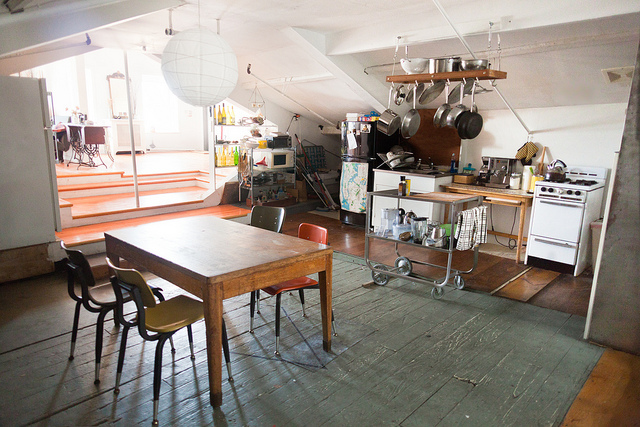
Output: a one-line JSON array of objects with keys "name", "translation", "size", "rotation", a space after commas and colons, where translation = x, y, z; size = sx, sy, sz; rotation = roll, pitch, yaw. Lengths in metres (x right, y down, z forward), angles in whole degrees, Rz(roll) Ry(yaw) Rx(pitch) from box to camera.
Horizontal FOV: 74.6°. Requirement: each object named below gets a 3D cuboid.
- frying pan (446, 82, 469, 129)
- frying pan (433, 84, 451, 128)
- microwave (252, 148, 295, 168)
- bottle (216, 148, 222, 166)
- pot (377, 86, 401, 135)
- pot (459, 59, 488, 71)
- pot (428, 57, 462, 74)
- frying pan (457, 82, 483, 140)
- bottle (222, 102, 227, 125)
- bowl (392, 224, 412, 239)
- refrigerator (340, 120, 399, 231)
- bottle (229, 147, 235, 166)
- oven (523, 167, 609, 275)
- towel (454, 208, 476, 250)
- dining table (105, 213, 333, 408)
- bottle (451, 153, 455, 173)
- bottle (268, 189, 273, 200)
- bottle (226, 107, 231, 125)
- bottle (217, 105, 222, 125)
[{"name": "frying pan", "translation": [1.562, -1.270, 4.948], "size": [0.090, 0.455, 0.276], "rotation": [12, 3, 15]}, {"name": "frying pan", "translation": [1.486, -1.315, 5.111], "size": [0.083, 0.496, 0.316], "rotation": [9, 23, 29]}, {"name": "microwave", "translation": [-0.922, -1.103, 8.309], "size": [0.949, 0.405, 0.228], "rotation": [-11, 16, -41]}, {"name": "bottle", "translation": [-1.866, -1.003, 7.699], "size": [0.128, 0.250, 0.061], "rotation": [-7, 14, -24]}, {"name": "pot", "translation": [0.881, -1.320, 5.387], "size": [0.281, 0.602, 0.669], "rotation": [1, 12, 9]}, {"name": "pot", "translation": [1.710, -1.648, 4.672], "size": [0.298, 0.129, 0.089], "rotation": [3, 13, 19]}, {"name": "pot", "translation": [1.414, -1.695, 4.823], "size": [0.384, 0.177, 0.145], "rotation": [9, 16, 41]}, {"name": "frying pan", "translation": [1.797, -1.220, 4.976], "size": [0.373, 0.592, 0.095], "rotation": [-7, 15, -41]}, {"name": "bottle", "translation": [-1.782, -1.805, 7.756], "size": [0.085, 0.323, 0.459], "rotation": [-4, 12, -12]}, {"name": "bowl", "translation": [1.022, 0.228, 5.286], "size": [0.181, 0.102, 0.183], "rotation": [0, 5, 0]}, {"name": "refrigerator", "translation": [0.881, -0.703, 7.662], "size": [1.105, 1.914, 0.845], "rotation": [0, 13, 6]}, {"name": "bottle", "translation": [-1.666, -1.063, 7.842], "size": [0.095, 0.331, 0.167], "rotation": [-2, 13, -3]}, {"name": "oven", "translation": [3.525, 0.085, 5.958], "size": [0.933, 1.410, 0.660], "rotation": [-9, 15, -32]}, {"name": "towel", "translation": [1.730, 0.190, 4.941], "size": [0.240, 0.464, 0.202], "rotation": [-1, 13, 1]}, {"name": "dining table", "translation": [-1.239, 0.763, 4.611], "size": [2.540, 1.026, 1.418], "rotation": [10, 15, 43]}, {"name": "bottle", "translation": [2.288, -0.875, 7.206], "size": [0.057, 0.311, 0.174], "rotation": [2, 13, 13]}, {"name": "bottle", "translation": [-1.012, -0.392, 8.459], "size": [0.091, 0.176, 0.165], "rotation": [-2, 12, -6]}, {"name": "bottle", "translation": [-1.733, -1.843, 7.871], "size": [0.091, 0.299, 0.346], "rotation": [-4, 12, -11]}, {"name": "bottle", "translation": [-1.823, -1.752, 7.567], "size": [0.080, 0.288, 0.104], "rotation": [-3, 13, -9]}]
